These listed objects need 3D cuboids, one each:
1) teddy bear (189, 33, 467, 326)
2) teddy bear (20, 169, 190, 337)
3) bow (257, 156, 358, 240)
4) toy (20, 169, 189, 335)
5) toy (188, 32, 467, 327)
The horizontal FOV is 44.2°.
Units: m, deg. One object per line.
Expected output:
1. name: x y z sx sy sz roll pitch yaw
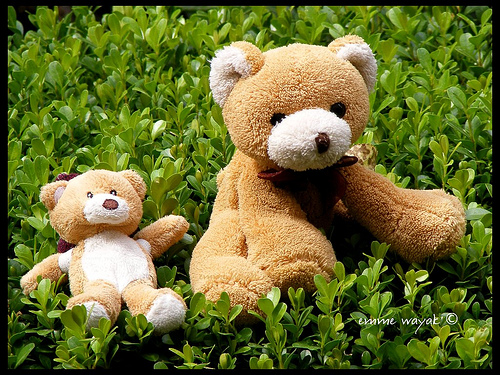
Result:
1. teddy bear: 0.263 -0.098 2.245 0.903 0.926 0.956 -4 15 14
2. teddy bear: -0.512 0.202 2.114 0.548 0.604 0.570 -8 -4 19
3. bow: 0.214 -0.013 2.134 0.293 0.330 0.146 -2 7 -34
4. toy: -0.480 0.191 2.125 0.530 0.612 0.587 -10 -4 30
5. toy: 0.184 -0.095 2.301 0.963 0.881 0.970 -14 17 -21
